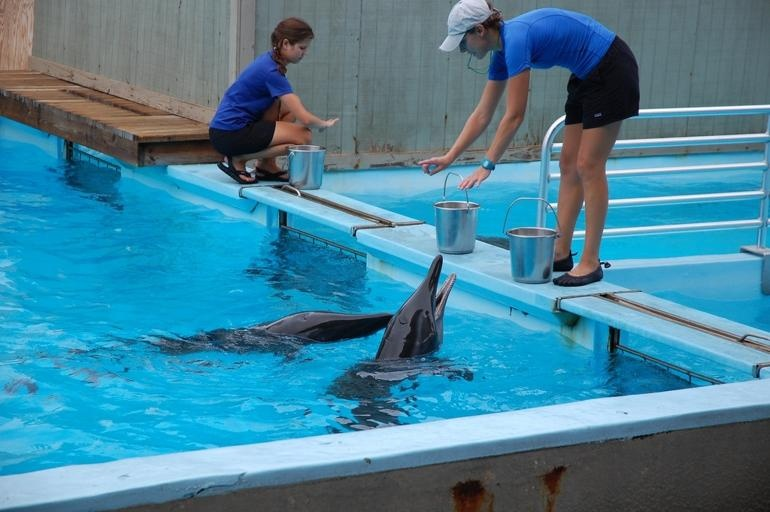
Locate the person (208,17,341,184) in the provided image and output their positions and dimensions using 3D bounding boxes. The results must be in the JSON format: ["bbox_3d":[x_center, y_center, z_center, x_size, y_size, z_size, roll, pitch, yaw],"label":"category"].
[{"bbox_3d":[-1.128,-1.424,7.315,1.315,1.676,0.932,-9,39,-23],"label":"person"}]

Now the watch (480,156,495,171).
[{"bbox_3d":[0.668,-0.597,4.865,0.090,0.053,0.101,0,-23,5],"label":"watch"}]

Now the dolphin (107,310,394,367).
[{"bbox_3d":[-0.693,0.487,4.577,1.931,0.215,0.494,-5,4,-5],"label":"dolphin"}]
